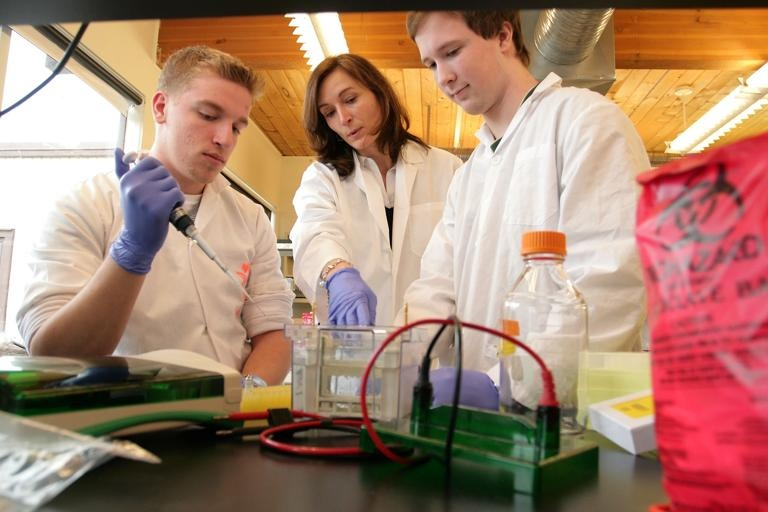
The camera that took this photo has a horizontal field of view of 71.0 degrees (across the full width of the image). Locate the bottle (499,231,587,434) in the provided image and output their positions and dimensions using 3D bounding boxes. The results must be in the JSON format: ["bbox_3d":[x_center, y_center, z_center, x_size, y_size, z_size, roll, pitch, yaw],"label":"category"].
[{"bbox_3d":[0.291,0.140,0.973,0.162,0.367,0.260,4,9,14],"label":"bottle"}]

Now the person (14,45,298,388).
[{"bbox_3d":[-0.713,-0.162,1.860,0.620,1.256,0.914,9,11,39],"label":"person"}]

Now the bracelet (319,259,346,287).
[{"bbox_3d":[-0.219,0.070,2.226,0.094,0.050,0.118,4,29,11],"label":"bracelet"}]

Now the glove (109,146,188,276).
[{"bbox_3d":[-0.705,-0.138,1.605,0.247,0.316,0.219,34,36,20],"label":"glove"}]
